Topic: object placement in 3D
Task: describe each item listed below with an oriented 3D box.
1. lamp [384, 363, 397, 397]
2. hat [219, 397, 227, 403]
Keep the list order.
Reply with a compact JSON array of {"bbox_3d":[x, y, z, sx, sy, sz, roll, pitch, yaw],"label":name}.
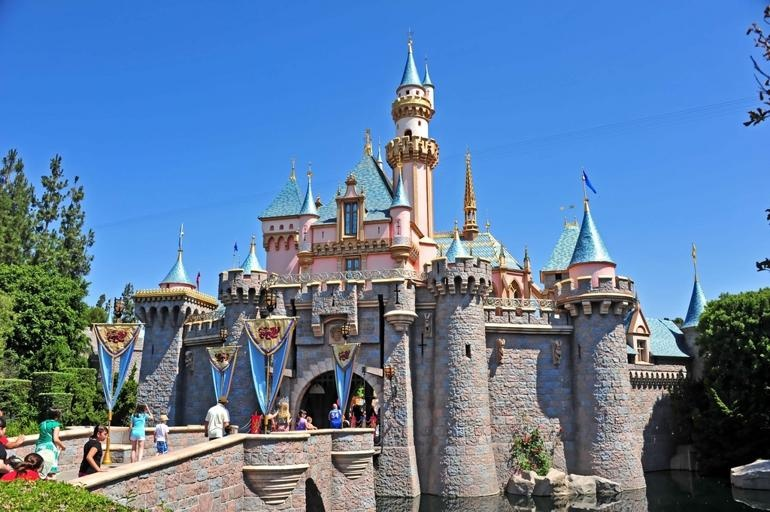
[{"bbox_3d":[0.383,7.642,52.221,0.806,1.970,0.201,1,-12,-11],"label":"lamp"},{"bbox_3d":[-8.003,7.089,42.014,0.546,0.236,0.634,2,-6,-6],"label":"hat"}]
